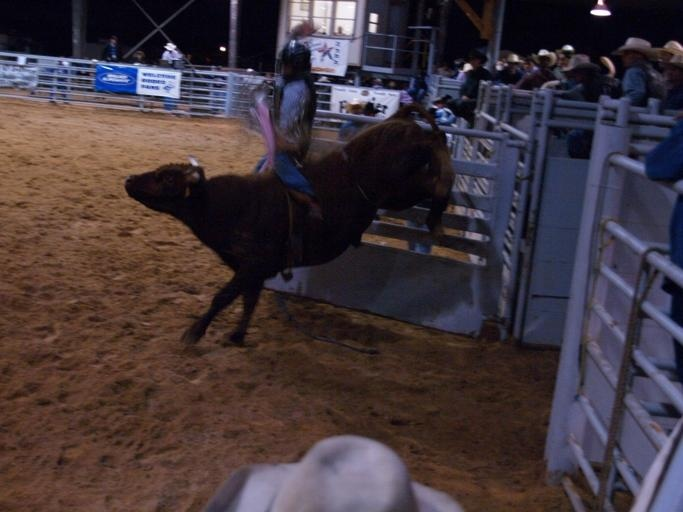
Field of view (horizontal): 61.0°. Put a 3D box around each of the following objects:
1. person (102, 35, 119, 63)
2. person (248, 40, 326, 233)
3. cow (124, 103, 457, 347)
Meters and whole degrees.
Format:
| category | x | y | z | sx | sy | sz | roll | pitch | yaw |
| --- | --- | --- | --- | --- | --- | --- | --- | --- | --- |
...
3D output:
| category | x | y | z | sx | sy | sz | roll | pitch | yaw |
| --- | --- | --- | --- | --- | --- | --- | --- | --- | --- |
| person | -6.673 | -6.066 | 16.940 | 0.385 | 0.745 | 0.851 | 0 | 15 | -21 |
| person | -0.399 | -1.019 | 4.689 | 0.609 | 1.431 | 0.390 | 5 | 16 | -5 |
| cow | -0.348 | -0.277 | 4.882 | 2.474 | 2.092 | 0.561 | 0 | 17 | -20 |
